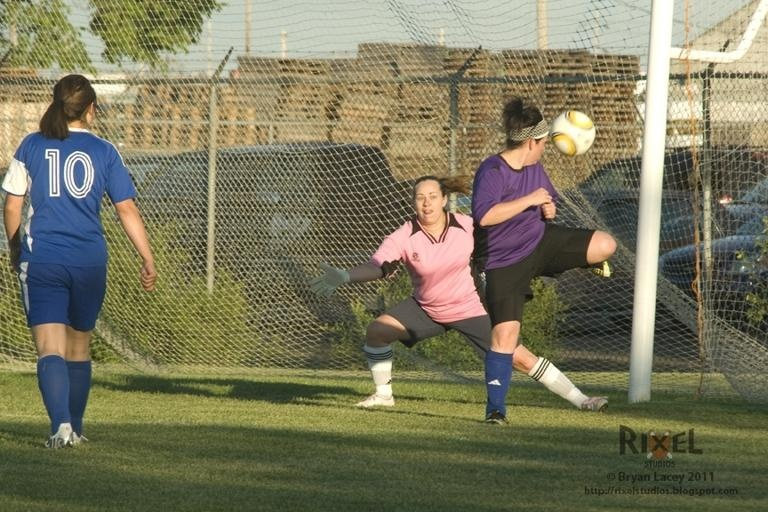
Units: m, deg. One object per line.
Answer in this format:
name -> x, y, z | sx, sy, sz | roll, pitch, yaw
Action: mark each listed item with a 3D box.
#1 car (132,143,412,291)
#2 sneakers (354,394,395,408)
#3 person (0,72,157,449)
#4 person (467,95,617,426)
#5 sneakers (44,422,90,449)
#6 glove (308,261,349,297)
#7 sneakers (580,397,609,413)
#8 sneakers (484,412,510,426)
car -> -1.214, -0.559, 14.665 | 2.815, 1.306, 1.241 | 1, -7, -20
sneakers -> -0.084, 1.265, 11.474 | 0.363, 0.115, 0.118 | 1, -3, -5
person -> -2.343, 0.031, 10.238 | 0.881, 2.831, 0.804 | -6, 12, -28
person -> 1.170, 0.034, 10.944 | 1.043, 2.647, 0.593 | -6, 12, -27
sneakers -> -2.413, 1.383, 10.140 | 0.136, 0.149, 0.367 | 0, 1, 13
glove -> -0.510, 0.220, 11.682 | 0.406, 0.240, 0.116 | -30, 12, -19
sneakers -> 1.750, 1.260, 11.185 | 0.214, 0.067, 0.107 | 1, 1, 14
sneakers -> 0.894, 1.324, 10.774 | 0.190, 0.098, 0.101 | 1, 10, 6
